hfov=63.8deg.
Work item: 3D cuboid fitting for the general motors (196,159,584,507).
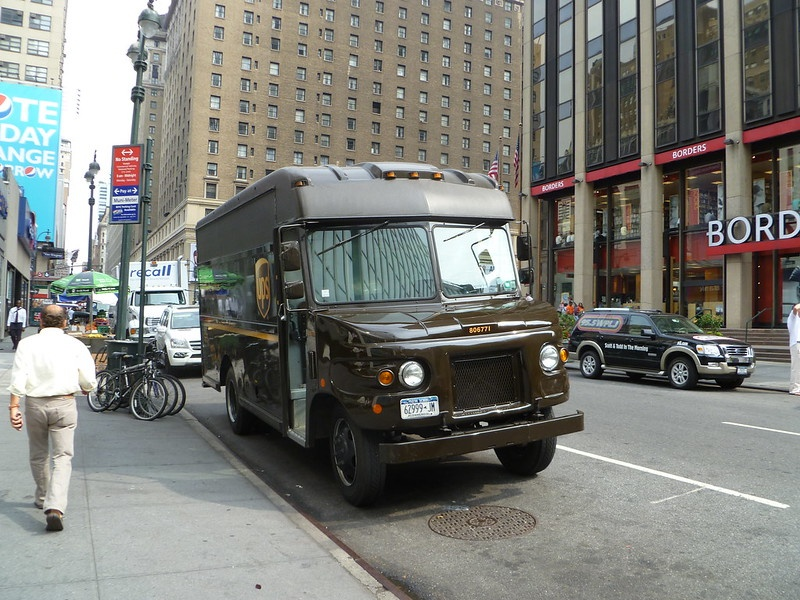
[{"bbox_3d":[-1.100,0.167,9.845,3.285,4.235,8.040,-3,5,-41],"label":"general motors"}]

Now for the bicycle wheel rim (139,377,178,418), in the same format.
[{"bbox_3d":[-4.336,1.808,11.947,0.686,0.695,0.172,29,4,18],"label":"bicycle wheel rim"}]

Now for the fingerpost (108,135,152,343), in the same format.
[{"bbox_3d":[-6.130,-1.390,14.572,0.729,4.491,1.402,-1,4,-23],"label":"fingerpost"}]

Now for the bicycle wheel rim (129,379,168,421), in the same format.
[{"bbox_3d":[-4.532,1.811,11.677,0.561,0.581,0.116,10,-9,27],"label":"bicycle wheel rim"}]

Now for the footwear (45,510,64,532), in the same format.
[{"bbox_3d":[-3.430,2.200,6.413,0.101,0.128,0.295,1,-37,-17],"label":"footwear"}]

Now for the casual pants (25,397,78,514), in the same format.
[{"bbox_3d":[-3.606,1.622,6.728,0.450,1.237,0.829,-3,5,-37],"label":"casual pants"}]

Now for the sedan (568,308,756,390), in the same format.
[{"bbox_3d":[7.171,1.266,17.826,2.189,2.105,4.618,4,-7,-33],"label":"sedan"}]

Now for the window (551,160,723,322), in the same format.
[{"bbox_3d":[11.529,-2.924,30.279,0.338,8.387,7.763,3,-4,-32],"label":"window"}]

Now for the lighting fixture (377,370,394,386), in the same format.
[{"bbox_3d":[-0.132,0.811,6.763,0.147,0.165,0.051,4,-1,-2],"label":"lighting fixture"}]

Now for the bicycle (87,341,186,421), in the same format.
[{"bbox_3d":[-4.780,1.665,12.414,2.188,1.423,0.973,-2,-10,35],"label":"bicycle"}]

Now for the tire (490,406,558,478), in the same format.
[{"bbox_3d":[1.486,1.663,7.612,0.350,1.013,0.943,1,4,-24],"label":"tire"}]

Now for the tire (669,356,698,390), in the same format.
[{"bbox_3d":[7.206,1.820,16.231,0.261,0.826,0.689,-1,-12,-20],"label":"tire"}]

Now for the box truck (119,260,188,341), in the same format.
[{"bbox_3d":[-9.411,-0.198,25.228,2.107,3.324,5.476,1,-7,-22],"label":"box truck"}]

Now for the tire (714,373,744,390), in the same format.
[{"bbox_3d":[8.626,2.116,16.713,0.643,0.225,0.650,-1,-3,-37],"label":"tire"}]

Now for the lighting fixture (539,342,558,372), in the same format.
[{"bbox_3d":[1.738,0.651,7.450,0.278,0.306,0.267,-1,0,-33],"label":"lighting fixture"}]

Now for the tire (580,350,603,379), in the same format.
[{"bbox_3d":[5.590,1.836,18.579,0.269,0.837,0.780,3,0,-23],"label":"tire"}]
